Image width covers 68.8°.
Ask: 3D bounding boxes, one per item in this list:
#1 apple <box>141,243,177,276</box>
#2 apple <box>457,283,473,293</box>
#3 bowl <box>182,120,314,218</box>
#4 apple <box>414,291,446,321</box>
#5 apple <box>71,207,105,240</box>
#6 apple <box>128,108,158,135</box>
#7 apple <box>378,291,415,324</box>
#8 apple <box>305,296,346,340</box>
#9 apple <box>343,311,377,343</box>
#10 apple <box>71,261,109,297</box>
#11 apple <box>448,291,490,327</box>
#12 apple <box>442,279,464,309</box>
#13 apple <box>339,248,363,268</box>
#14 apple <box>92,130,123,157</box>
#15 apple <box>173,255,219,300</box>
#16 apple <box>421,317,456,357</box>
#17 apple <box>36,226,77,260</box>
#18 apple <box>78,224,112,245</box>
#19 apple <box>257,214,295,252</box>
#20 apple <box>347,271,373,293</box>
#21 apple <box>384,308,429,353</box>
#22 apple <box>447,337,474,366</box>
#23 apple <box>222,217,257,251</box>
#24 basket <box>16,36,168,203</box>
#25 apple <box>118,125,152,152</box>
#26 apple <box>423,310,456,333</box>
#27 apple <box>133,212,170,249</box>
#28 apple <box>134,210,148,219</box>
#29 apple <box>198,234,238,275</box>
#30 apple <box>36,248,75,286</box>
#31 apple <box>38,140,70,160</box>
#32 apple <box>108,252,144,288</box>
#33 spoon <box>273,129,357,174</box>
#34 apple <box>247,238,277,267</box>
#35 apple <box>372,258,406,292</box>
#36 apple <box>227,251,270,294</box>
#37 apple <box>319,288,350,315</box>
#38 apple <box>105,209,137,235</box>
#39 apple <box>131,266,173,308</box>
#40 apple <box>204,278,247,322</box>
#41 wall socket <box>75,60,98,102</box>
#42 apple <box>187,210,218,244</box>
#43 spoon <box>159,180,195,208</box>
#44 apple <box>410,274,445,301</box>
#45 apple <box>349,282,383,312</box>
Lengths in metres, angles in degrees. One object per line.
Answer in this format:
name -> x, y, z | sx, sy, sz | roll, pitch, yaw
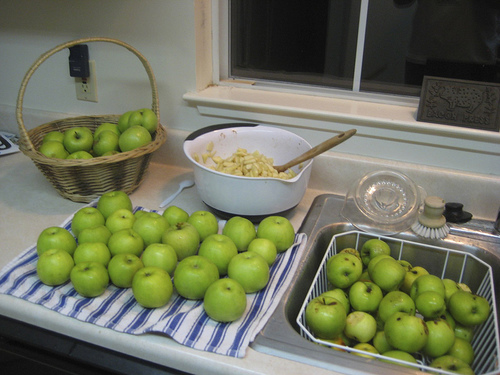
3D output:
apple -> -0.209, 0.149, 0.877 | 0.065, 0.089, 0.069 | 12, 17, 30
apple -> 0.551, 0.246, 0.938 | 0.030, 0.016, 0.035 | -12, 18, -43
bowl -> -0.002, -0.054, 1.140 | 0.366, 0.179, 0.437 | -17, 34, -26
apple -> 0.413, 0.262, 0.844 | 0.052, 0.069, 0.056 | 1, 1, -6
apple -> -0.445, 0.097, 0.991 | 0.074, 0.086, 0.079 | 1, -10, -4
apple -> -0.355, -0.228, 1.214 | 0.073, 0.084, 0.079 | -4, 23, 4
apple -> 0.331, 0.261, 0.833 | 0.066, 0.088, 0.069 | -23, -17, 38
apple -> 0.166, 0.280, 0.830 | 0.075, 0.101, 0.085 | -1, 12, 5
apple -> 0.251, 0.318, 0.844 | 0.067, 0.075, 0.065 | 0, 10, 40
apple -> -0.351, 0.195, 0.818 | 0.068, 0.072, 0.072 | 5, 14, 6
apple -> 0.511, 0.280, 0.853 | 0.072, 0.088, 0.081 | 1, 6, -5
apple -> 0.491, 0.250, 0.902 | 0.051, 0.068, 0.054 | 4, 8, 21
apple -> 0.277, 0.184, 1.009 | 0.042, 0.046, 0.047 | 14, 37, -24
apple -> -0.464, -0.147, 1.172 | 0.078, 0.085, 0.081 | -6, 3, 11
apple -> -0.129, 0.201, 0.844 | 0.099, 0.080, 0.105 | -1, 31, -18
apple -> 0.409, 0.320, 0.795 | 0.057, 0.076, 0.062 | -9, 13, 1
apple -> -0.473, 0.120, 0.894 | 0.073, 0.093, 0.070 | -20, 17, -30
apple -> -0.394, 0.108, 0.904 | 0.051, 0.058, 0.053 | -5, 11, -21
apple -> 0.065, 0.130, 0.991 | 0.125, 0.100, 0.135 | -4, -19, 11
apple -> 0.300, 0.241, 0.981 | 0.049, 0.057, 0.052 | -2, -1, 14
apple -> 0.331, 0.282, 0.782 | 0.074, 0.086, 0.079 | 5, 3, 13
apple -> 0.458, 0.349, 0.808 | 0.052, 0.057, 0.053 | 13, -21, 25
apple -> -0.026, 0.112, 1.001 | 0.074, 0.098, 0.082 | 15, 12, 6
basket -> -0.513, -0.218, 1.192 | 0.449, 0.462, 0.434 | 18, 36, 28
apple -> -0.391, -0.152, 1.179 | 0.073, 0.081, 0.075 | 0, -10, -5
apple -> 0.454, 0.304, 0.862 | 0.042, 0.052, 0.047 | 4, 57, 10
apple -> -0.256, 0.102, 0.935 | 0.077, 0.098, 0.081 | 3, 7, 11
apple -> -0.312, 0.070, 1.039 | 0.025, 0.037, 0.028 | 2, 8, 2
apple -> -0.078, 0.147, 0.876 | 0.082, 0.086, 0.088 | 5, 14, 4
apple -> -0.461, 0.182, 0.866 | 0.085, 0.092, 0.084 | 5, 9, -39
apple -> -0.623, -0.119, 1.155 | 0.078, 0.046, 0.076 | -28, 41, -36
apple -> -0.290, 0.189, 0.885 | 0.071, 0.070, 0.076 | 31, 35, -16
spoon -> 0.210, -0.116, 1.174 | 0.041, 0.042, 0.232 | 26, -44, -35
apple -> 0.032, 0.150, 0.915 | 0.059, 0.065, 0.065 | 3, 4, 6
apple -> 0.347, 0.214, 0.912 | 0.080, 0.073, 0.068 | 13, 34, 22
apple -> -0.007, 0.192, 0.869 | 0.093, 0.091, 0.101 | -4, 8, -35
apple -> 0.207, 0.259, 0.890 | 0.054, 0.070, 0.055 | 7, 6, 30
apple -> -0.342, 0.083, 0.960 | 0.056, 0.066, 0.060 | 5, 17, -4
apple -> -0.218, 0.212, 0.836 | 0.076, 0.088, 0.079 | 11, 25, 23
apple -> -0.055, 0.237, 0.803 | 0.105, 0.095, 0.118 | 0, 2, -11
wall socket -> -0.651, -0.428, 1.449 | 0.098, 0.194, 0.018 | 12, 22, 22
apple -> -0.127, 0.093, 0.971 | 0.072, 0.083, 0.076 | -2, 11, -3
spoon -> -0.242, 0.008, 1.238 | 0.037, 0.031, 0.223 | 5, 34, 16
apple -> 0.422, 0.227, 0.875 | 0.058, 0.063, 0.061 | 23, 22, 14
apple -> 0.279, 0.249, 0.908 | 0.062, 0.079, 0.061 | -11, 27, -17
